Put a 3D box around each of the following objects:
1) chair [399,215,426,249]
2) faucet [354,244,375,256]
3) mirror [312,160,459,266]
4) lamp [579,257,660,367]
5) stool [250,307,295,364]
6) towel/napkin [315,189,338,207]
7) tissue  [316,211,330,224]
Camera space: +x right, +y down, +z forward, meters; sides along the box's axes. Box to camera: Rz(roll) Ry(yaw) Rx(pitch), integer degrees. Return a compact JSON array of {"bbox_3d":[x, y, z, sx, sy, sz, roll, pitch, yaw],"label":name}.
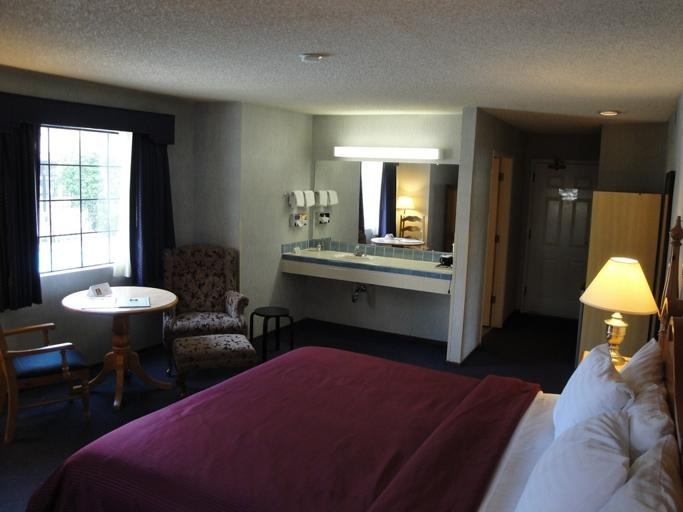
[{"bbox_3d":[0.893,-0.280,6.299,0.353,0.624,0.363,1,5,17],"label":"chair"},{"bbox_3d":[0.306,-0.067,6.580,0.257,0.141,0.185,1,9,15],"label":"faucet"},{"bbox_3d":[0.373,-0.608,6.475,1.631,1.162,0.119,7,16,27],"label":"mirror"},{"bbox_3d":[2.081,0.439,3.804,0.494,0.756,0.471,15,-2,-38],"label":"lamp"},{"bbox_3d":[-0.768,0.869,5.590,0.375,0.481,0.355,-1,1,-37],"label":"stool"},{"bbox_3d":[-0.184,-0.756,6.713,0.380,0.290,0.173,-2,7,-11],"label":"towel/napkin"},{"bbox_3d":[-0.222,-0.516,6.875,0.240,0.245,0.141,1,6,6],"label":"tissue "}]
